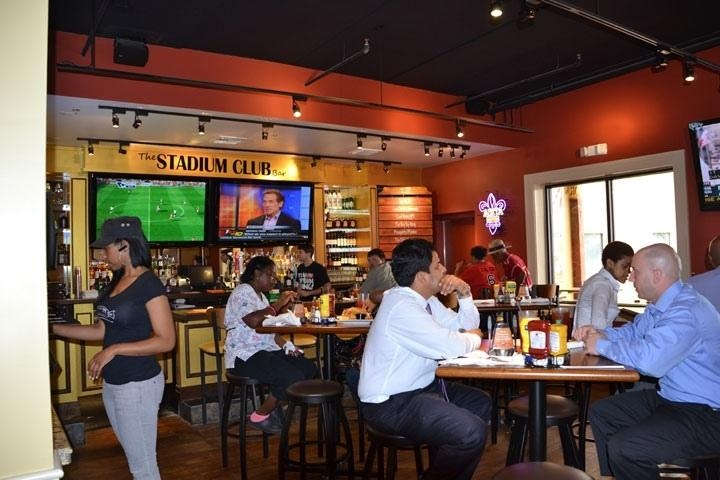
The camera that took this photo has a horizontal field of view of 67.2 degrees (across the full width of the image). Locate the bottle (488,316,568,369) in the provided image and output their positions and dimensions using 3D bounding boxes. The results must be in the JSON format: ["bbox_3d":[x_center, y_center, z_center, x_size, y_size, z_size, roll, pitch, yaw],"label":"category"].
[{"bbox_3d":[1.108,0.686,3.564,0.166,0.273,0.774,1,-5,-15],"label":"bottle"}]

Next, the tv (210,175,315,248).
[{"bbox_3d":[-1.730,-0.473,9.178,1.358,0.859,0.136,0,7,-20],"label":"tv"}]

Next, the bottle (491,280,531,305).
[{"bbox_3d":[2.041,0.736,7.488,0.691,0.361,0.380,2,-4,-8],"label":"bottle"}]

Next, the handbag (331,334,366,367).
[{"bbox_3d":[-0.132,1.416,7.071,0.471,0.207,0.583,-1,6,4],"label":"handbag"}]

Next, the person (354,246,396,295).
[{"bbox_3d":[0.222,0.412,7.117,0.497,0.789,0.631,1,-8,12],"label":"person"}]

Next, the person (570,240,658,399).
[{"bbox_3d":[2.352,0.698,4.894,0.615,1.349,0.568,-8,17,34],"label":"person"}]

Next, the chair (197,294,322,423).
[{"bbox_3d":[-1.284,1.420,6.723,1.445,2.088,1.250,-2,-3,14],"label":"chair"}]

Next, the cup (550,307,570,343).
[{"bbox_3d":[1.431,0.603,3.916,0.162,0.252,0.158,-2,9,0],"label":"cup"}]

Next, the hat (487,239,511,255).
[{"bbox_3d":[2.199,0.117,8.657,0.297,0.120,0.324,-9,-1,28],"label":"hat"}]

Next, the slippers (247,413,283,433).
[{"bbox_3d":[-0.882,1.726,5.156,0.338,0.142,0.170,3,-3,4],"label":"slippers"}]

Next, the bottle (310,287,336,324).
[{"bbox_3d":[-0.385,0.669,5.412,0.246,0.368,0.250,0,1,0],"label":"bottle"}]

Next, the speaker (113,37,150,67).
[{"bbox_3d":[-2.608,-2.093,6.187,0.412,0.290,0.321,4,-33,-27],"label":"speaker"}]

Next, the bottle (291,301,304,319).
[{"bbox_3d":[-0.665,0.762,5.738,0.121,0.210,0.125,-1,1,0],"label":"bottle"}]

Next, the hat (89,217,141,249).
[{"bbox_3d":[-1.693,-0.073,3.766,0.383,0.186,0.265,-8,11,-34],"label":"hat"}]
